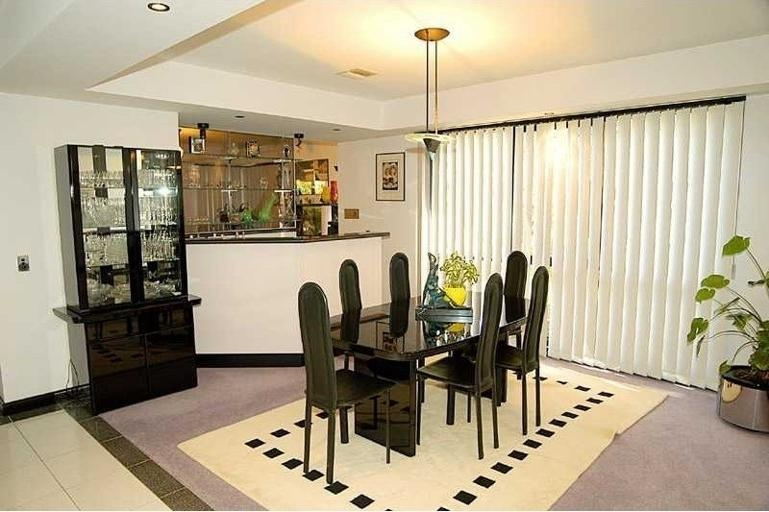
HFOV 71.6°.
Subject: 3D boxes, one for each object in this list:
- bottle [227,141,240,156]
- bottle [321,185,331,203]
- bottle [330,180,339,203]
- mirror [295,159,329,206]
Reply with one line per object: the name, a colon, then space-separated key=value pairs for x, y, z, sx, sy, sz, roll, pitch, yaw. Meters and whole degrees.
bottle: x=-2.265 y=-1.597 z=7.946 sx=0.168 sy=0.233 sz=0.253 roll=-2 pitch=6 yaw=-11
bottle: x=-0.945 y=-0.993 z=8.665 sx=0.120 sy=0.254 sz=0.429 roll=-2 pitch=6 yaw=-8
bottle: x=-0.820 y=-1.022 z=8.599 sx=0.121 sy=0.350 sz=0.392 roll=-2 pitch=6 yaw=-10
mirror: x=-1.644 y=-1.752 z=12.188 sx=0.723 sy=1.016 sz=1.169 roll=-1 pitch=6 yaw=-2
